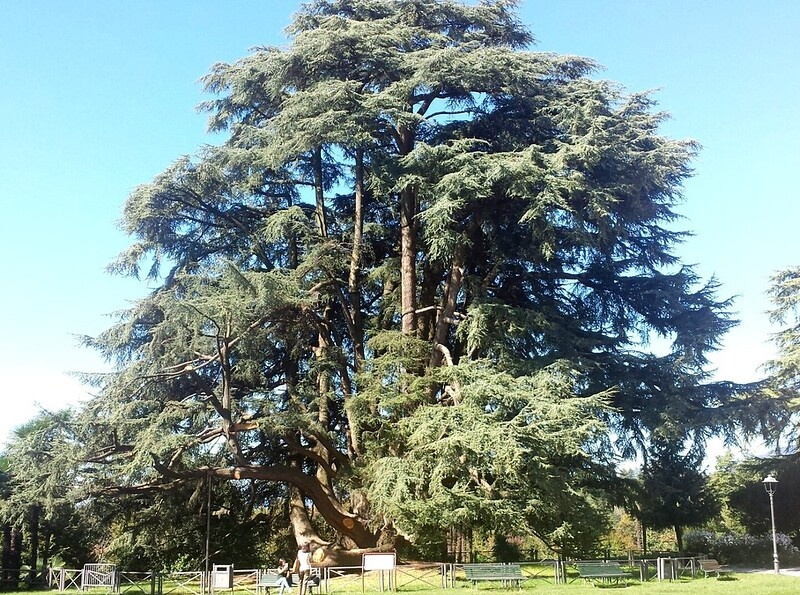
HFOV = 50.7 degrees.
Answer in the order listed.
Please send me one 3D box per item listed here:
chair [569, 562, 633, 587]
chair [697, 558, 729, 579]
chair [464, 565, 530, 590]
[{"bbox_3d":[7.486,10.241,31.481,1.573,0.867,2.731,-11,-20,22],"label":"chair"},{"bbox_3d":[13.156,11.332,35.406,1.003,0.749,2.719,-10,-19,18],"label":"chair"},{"bbox_3d":[3.388,10.086,30.594,2.042,0.904,1.362,-4,-18,2],"label":"chair"}]
